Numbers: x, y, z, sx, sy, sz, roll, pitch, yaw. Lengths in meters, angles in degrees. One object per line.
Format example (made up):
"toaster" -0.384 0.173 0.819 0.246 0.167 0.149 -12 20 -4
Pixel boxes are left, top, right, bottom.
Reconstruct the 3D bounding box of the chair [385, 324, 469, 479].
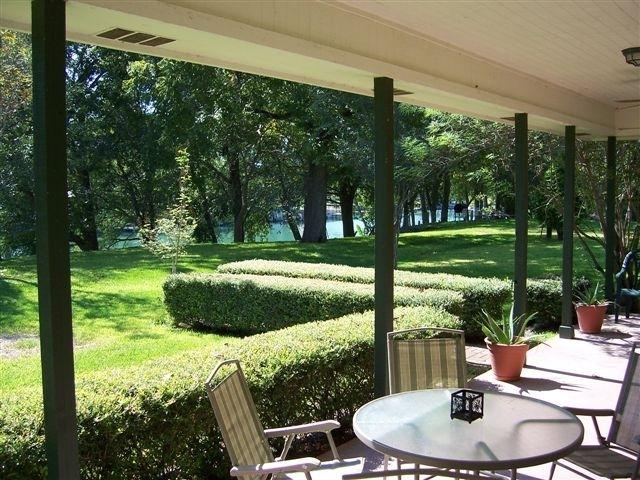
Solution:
"chair" 0.786 1.019 4.010 0.596 1.172 0.666 -2 -6 -4

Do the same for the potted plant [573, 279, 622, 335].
"potted plant" 4.146 1.033 7.774 0.518 0.650 0.455 -5 -3 17

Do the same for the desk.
"desk" 0.839 1.115 2.900 1.301 0.432 0.850 0 -1 3

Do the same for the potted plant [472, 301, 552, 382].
"potted plant" 2.145 1.151 5.798 0.437 0.850 0.728 -1 -1 40
